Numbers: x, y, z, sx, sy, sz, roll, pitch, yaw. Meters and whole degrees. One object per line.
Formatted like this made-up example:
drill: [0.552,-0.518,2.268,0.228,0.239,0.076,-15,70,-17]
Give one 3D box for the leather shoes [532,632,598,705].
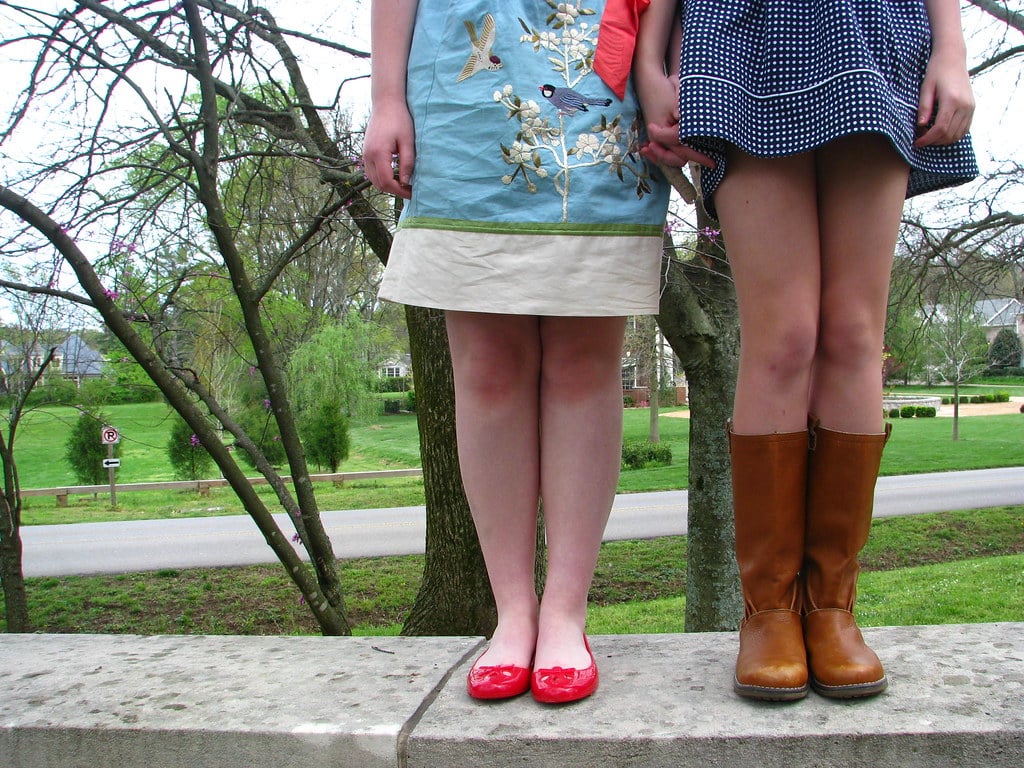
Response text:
leather shoes: [0.119,0.670,1.835,0.157,0.097,0.119,-1,-7,-4]
